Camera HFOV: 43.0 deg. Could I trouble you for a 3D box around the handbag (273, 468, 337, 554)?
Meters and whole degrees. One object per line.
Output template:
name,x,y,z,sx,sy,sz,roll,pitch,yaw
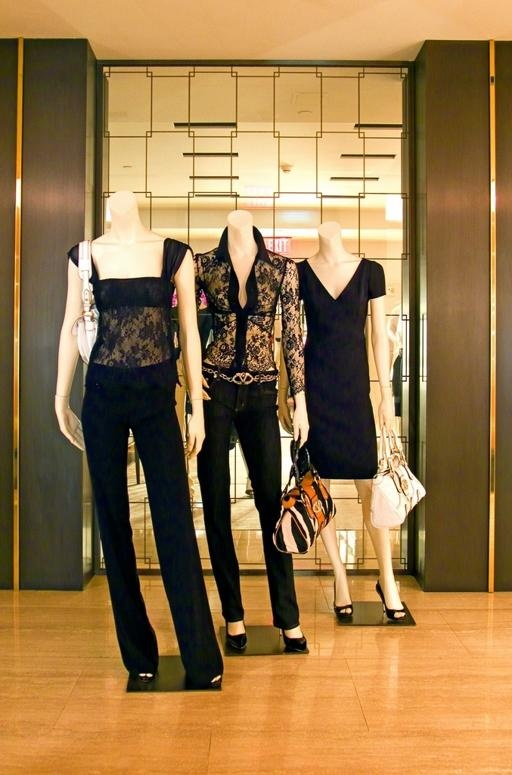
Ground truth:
handbag,0.173,0.435,2.312,0.097,0.295,0.283,-5,17,23

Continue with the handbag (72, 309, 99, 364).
handbag,-0.526,-0.157,1.994,0.093,0.169,0.050,1,9,26

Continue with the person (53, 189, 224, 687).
person,-0.371,0.183,2.062,0.500,1.555,0.261,-1,8,10
